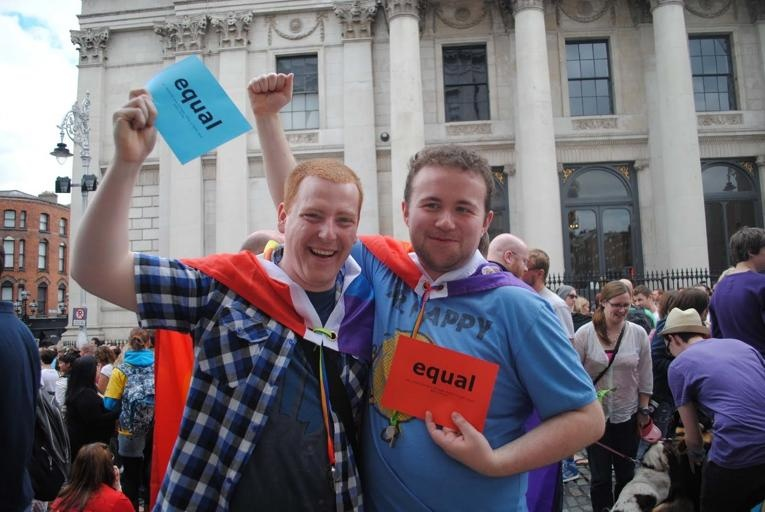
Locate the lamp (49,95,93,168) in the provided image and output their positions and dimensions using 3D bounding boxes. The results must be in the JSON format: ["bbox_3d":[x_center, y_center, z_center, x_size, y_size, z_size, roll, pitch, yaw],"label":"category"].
[{"bbox_3d":[-8.939,-3.437,22.932,1.222,2.707,0.734,1,3,-5],"label":"lamp"}]
